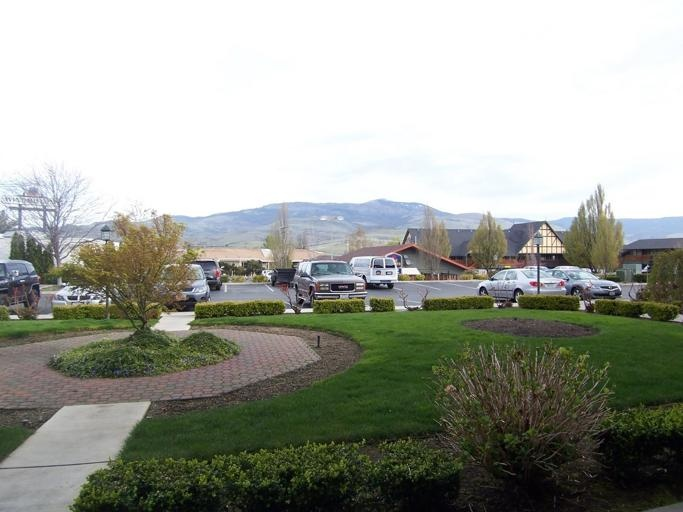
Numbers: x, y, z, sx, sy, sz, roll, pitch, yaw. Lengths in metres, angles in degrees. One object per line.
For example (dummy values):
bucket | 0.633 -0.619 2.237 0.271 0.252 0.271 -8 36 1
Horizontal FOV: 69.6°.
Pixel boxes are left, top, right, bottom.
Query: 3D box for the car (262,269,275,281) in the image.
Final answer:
car | -6.546 1.642 43.783 1.251 0.837 2.467 0 0 -29

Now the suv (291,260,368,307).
suv | -0.461 1.141 20.491 2.500 1.926 3.185 -1 0 -11

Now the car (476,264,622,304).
car | 9.501 1.284 22.645 5.518 1.471 2.786 -1 0 -18

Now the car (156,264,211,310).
car | -5.424 1.115 17.628 1.747 1.362 3.369 0 -3 -10

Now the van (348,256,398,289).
van | 2.171 0.995 34.674 1.918 1.377 3.336 -1 5 -25
